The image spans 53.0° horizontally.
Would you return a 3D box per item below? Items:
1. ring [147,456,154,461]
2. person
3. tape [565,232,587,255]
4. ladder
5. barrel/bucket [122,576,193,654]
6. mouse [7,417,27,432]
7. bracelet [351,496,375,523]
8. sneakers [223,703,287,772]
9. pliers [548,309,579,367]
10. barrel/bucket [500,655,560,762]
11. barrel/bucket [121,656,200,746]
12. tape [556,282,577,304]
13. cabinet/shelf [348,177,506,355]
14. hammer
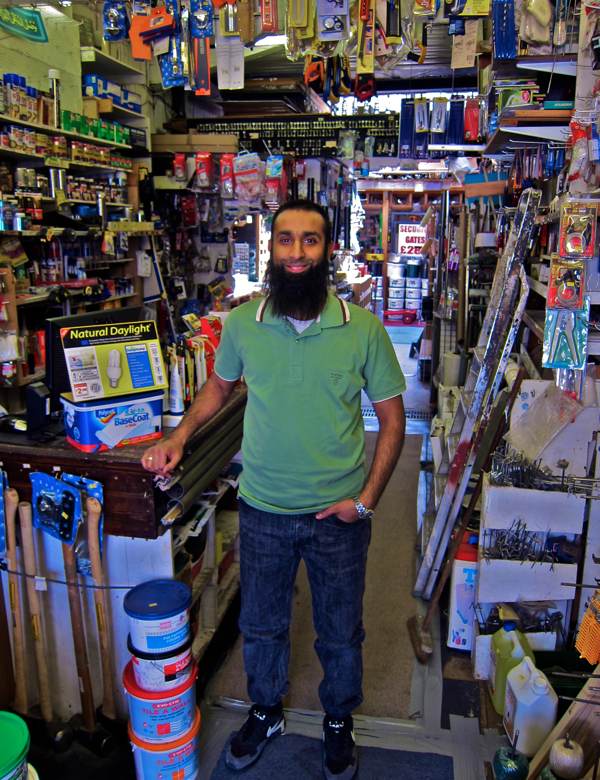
[{"bbox_3d":[-0.421,0.188,1.688,0.013,0.007,0.018,1,18,-3],"label":"ring"},{"bbox_3d":[0.013,0.340,1.784,0.568,1.740,0.288,1,8,10],"label":"person"},{"bbox_3d":[0.889,-0.472,1.936,0.066,0.065,0.016,11,4,13],"label":"tape"},{"bbox_3d":[0.783,0.130,2.760,0.450,1.937,0.999,0,8,6],"label":"ladder"},{"bbox_3d":[-0.412,0.652,1.732,0.178,0.139,0.176,-1,7,0],"label":"barrel/bucket"},{"bbox_3d":[-0.946,0.115,2.012,0.045,0.032,0.114,-6,10,-35],"label":"mouse"},{"bbox_3d":[0.172,0.322,1.684,0.055,0.039,0.068,9,38,-22],"label":"bracelet"},{"bbox_3d":[-0.148,1.110,1.996,0.098,0.111,0.259,10,5,26],"label":"sneakers"},{"bbox_3d":[0.892,-0.176,2.036,0.117,0.199,0.078,-2,8,-13],"label":"pliers"},{"bbox_3d":[0.735,0.995,1.945,0.119,0.252,0.155,0,17,-6],"label":"barrel/bucket"},{"bbox_3d":[-0.428,0.883,1.804,0.203,0.195,0.213,-2,3,0],"label":"barrel/bucket"},{"bbox_3d":[0.880,-0.316,1.962,0.049,0.059,0.021,-1,12,8],"label":"tape"},{"bbox_3d":[1.509,-1.737,7.676,2.237,1.481,4.165,2,30,5],"label":"cabinet/shelf"},{"bbox_3d":[-0.783,0.685,1.918,0.509,0.884,0.213,1,8,12],"label":"hammer"}]
